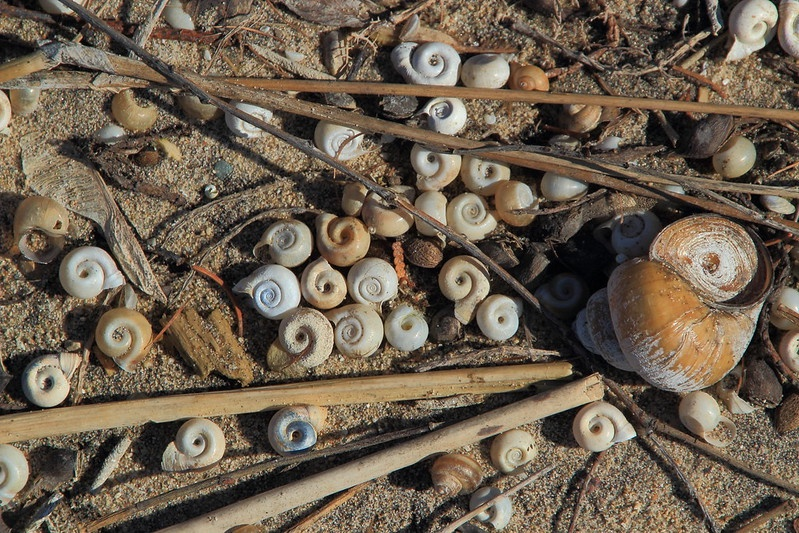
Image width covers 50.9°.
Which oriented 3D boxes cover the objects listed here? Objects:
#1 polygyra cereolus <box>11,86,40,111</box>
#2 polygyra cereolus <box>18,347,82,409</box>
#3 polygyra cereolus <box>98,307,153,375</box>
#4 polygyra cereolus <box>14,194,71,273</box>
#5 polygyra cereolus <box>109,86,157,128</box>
[{"bbox_3d":[-3.283,-1.456,7.389,0.261,0.106,0.200,-12,-56,-17],"label":"polygyra cereolus"},{"bbox_3d":[-3.005,0.989,7.303,0.527,0.263,0.365,-13,-55,-16],"label":"polygyra cereolus"},{"bbox_3d":[-2.407,0.620,7.319,0.451,0.290,0.478,29,-74,-34],"label":"polygyra cereolus"},{"bbox_3d":[-3.169,-0.345,7.444,0.288,0.530,0.602,35,-36,-6],"label":"polygyra cereolus"},{"bbox_3d":[-2.327,-1.345,7.385,0.383,0.186,0.301,17,-67,-31],"label":"polygyra cereolus"}]
